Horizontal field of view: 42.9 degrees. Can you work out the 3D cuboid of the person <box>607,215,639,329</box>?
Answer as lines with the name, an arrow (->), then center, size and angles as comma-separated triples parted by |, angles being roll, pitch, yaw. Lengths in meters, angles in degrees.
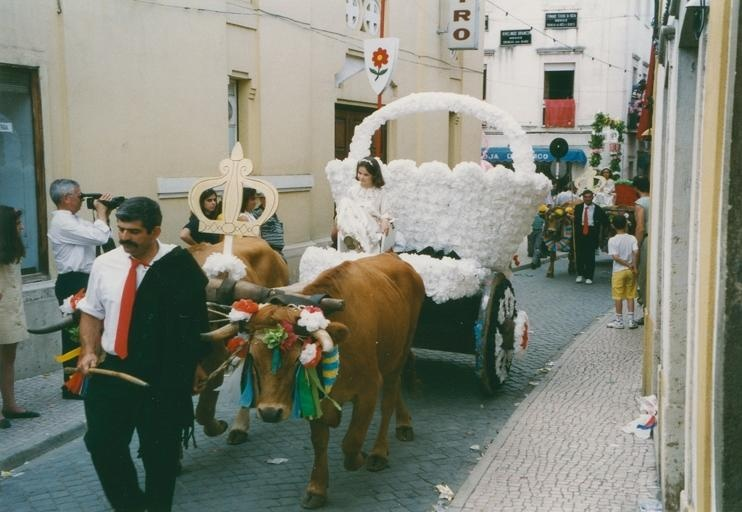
person -> 3.931, 0.269, 14.748 | 0.456, 1.790, 0.460 | 2, 12, 15

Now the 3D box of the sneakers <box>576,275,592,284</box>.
sneakers -> 4.365, 0.511, 19.399 | 0.142, 0.144, 0.372 | 1, 2, -7

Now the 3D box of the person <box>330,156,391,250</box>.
person -> -0.135, -0.571, 11.414 | 0.638, 1.134, 0.897 | 4, 17, 23

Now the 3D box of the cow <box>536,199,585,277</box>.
cow -> 4.232, -0.374, 20.955 | 0.631, 1.450, 2.336 | 0, 2, 25
